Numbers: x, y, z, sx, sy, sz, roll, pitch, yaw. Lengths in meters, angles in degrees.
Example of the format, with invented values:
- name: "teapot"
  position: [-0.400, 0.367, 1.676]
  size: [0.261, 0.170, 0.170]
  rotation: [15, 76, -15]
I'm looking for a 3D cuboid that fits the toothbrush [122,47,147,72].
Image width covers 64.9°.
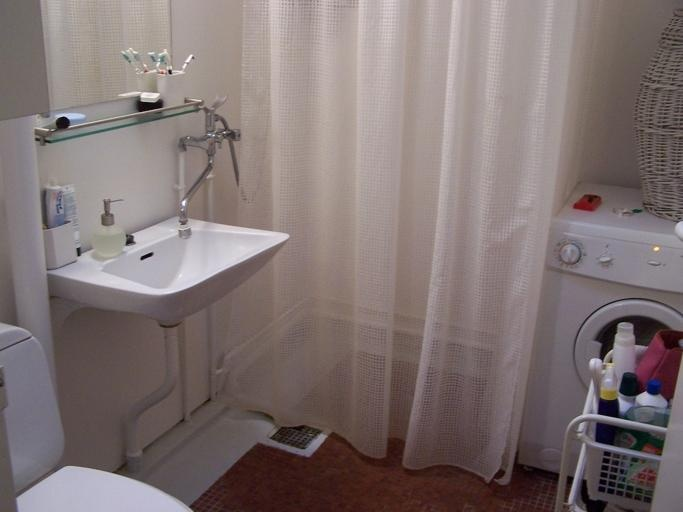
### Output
- name: "toothbrush"
  position: [-0.702, -0.667, 1.814]
  size: [0.025, 0.027, 0.085]
  rotation: [-41, 1, -2]

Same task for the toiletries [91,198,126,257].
- name: "toiletries"
  position: [-0.749, -0.084, 1.768]
  size: [0.086, 0.213, 0.079]
  rotation: [12, 23, 21]

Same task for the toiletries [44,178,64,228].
- name: "toiletries"
  position: [-0.877, -0.154, 1.622]
  size: [0.043, 0.121, 0.070]
  rotation: [7, 24, 14]

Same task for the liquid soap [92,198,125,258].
- name: "liquid soap"
  position: [-0.756, -0.068, 1.779]
  size: [0.085, 0.218, 0.079]
  rotation: [12, 23, 21]

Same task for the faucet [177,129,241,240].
- name: "faucet"
  position: [-0.532, -0.326, 2.141]
  size: [0.206, 0.359, 0.504]
  rotation: [10, 25, 18]

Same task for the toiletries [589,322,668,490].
- name: "toiletries"
  position: [0.653, 0.376, 1.438]
  size: [0.205, 0.349, 0.337]
  rotation: [7, 22, 23]

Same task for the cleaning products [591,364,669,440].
- name: "cleaning products"
  position: [0.700, 0.351, 1.377]
  size: [0.191, 0.217, 0.122]
  rotation: [1, 14, 19]
